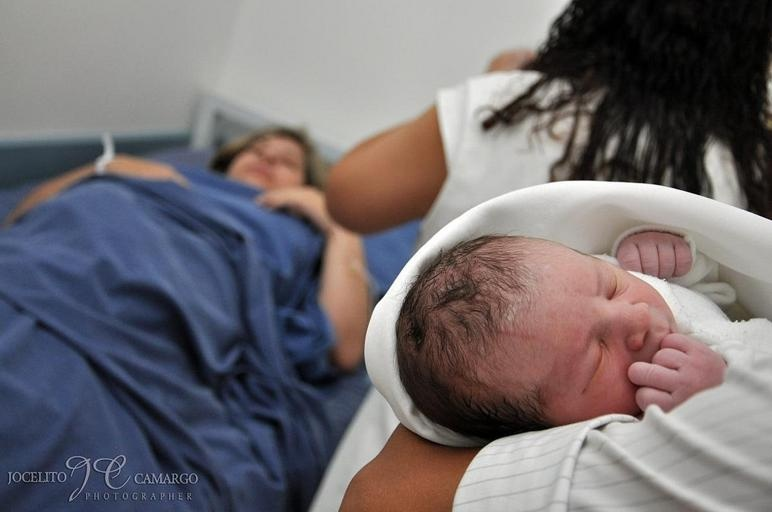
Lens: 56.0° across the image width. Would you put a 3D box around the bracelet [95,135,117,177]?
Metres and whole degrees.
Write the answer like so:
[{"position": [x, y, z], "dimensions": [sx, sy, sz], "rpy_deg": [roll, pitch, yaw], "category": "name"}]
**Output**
[{"position": [-0.566, -0.209, 1.500], "dimensions": [0.044, 0.027, 0.078], "rpy_deg": [21, 71, -7], "category": "bracelet"}]
